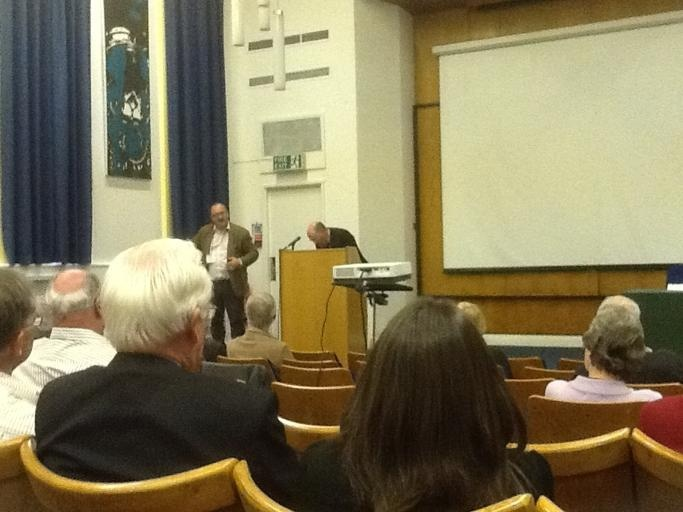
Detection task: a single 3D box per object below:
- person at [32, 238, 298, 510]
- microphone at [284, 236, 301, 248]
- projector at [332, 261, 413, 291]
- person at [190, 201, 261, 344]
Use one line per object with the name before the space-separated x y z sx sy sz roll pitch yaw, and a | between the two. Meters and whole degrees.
person | -0.493 0.312 1.885 0.731 0.700 0.312 -1 6 -6
microphone | -0.546 -0.157 7.562 0.067 0.073 0.254 -20 16 48
projector | 0.181 0.118 4.164 0.444 0.186 0.293 2 7 19
person | -1.246 0.289 6.882 0.659 1.678 0.596 0 20 -6
